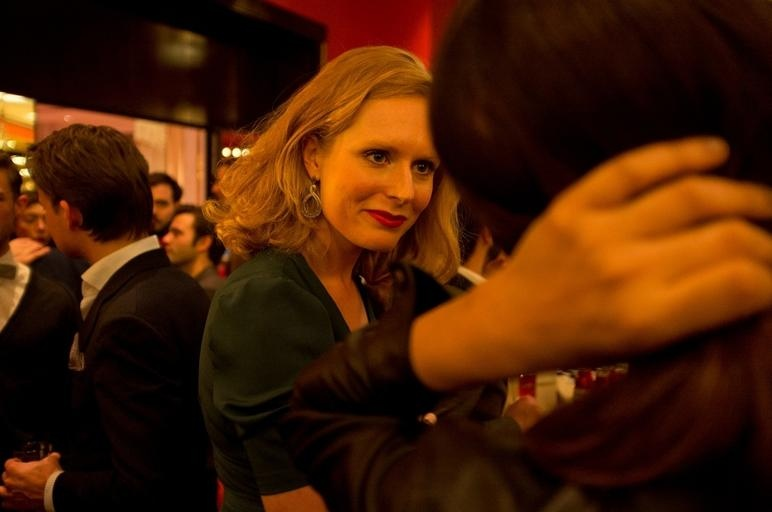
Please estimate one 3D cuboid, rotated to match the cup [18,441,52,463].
[{"bbox_3d":[-1.181,0.644,2.250,0.071,0.078,0.079,6,-5,-37],"label":"cup"}]
